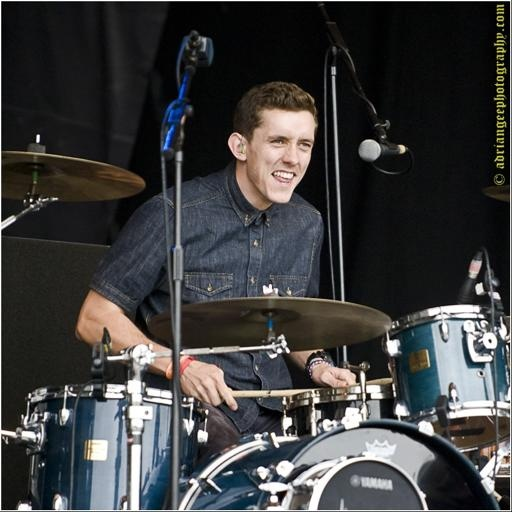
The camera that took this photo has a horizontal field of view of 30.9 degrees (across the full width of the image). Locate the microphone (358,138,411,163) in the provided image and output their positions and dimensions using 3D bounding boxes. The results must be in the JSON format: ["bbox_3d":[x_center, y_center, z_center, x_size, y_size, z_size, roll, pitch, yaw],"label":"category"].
[{"bbox_3d":[0.494,-0.396,3.565,0.093,0.094,0.242,-1,-1,39],"label":"microphone"}]

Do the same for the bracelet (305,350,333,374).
[{"bbox_3d":[0.228,0.395,3.458,0.076,0.087,0.045,-2,-2,13],"label":"bracelet"}]

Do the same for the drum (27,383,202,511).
[{"bbox_3d":[-0.443,0.559,2.720,0.563,0.378,0.372,-4,-14,3],"label":"drum"}]

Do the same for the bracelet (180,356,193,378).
[{"bbox_3d":[-0.217,0.350,2.903,0.027,0.067,0.050,22,-2,30],"label":"bracelet"}]

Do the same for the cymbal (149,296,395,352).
[{"bbox_3d":[0.099,0.227,2.953,0.671,0.076,0.648,-2,-15,-6],"label":"cymbal"}]

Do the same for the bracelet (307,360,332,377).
[{"bbox_3d":[0.229,0.406,3.420,0.063,0.021,0.066,14,9,25],"label":"bracelet"}]

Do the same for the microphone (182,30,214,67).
[{"bbox_3d":[-0.179,-0.605,2.728,0.097,0.113,0.121,-2,-14,-5],"label":"microphone"}]

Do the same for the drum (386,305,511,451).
[{"bbox_3d":[0.598,0.373,3.077,0.429,0.394,0.429,16,-33,-27],"label":"drum"}]
